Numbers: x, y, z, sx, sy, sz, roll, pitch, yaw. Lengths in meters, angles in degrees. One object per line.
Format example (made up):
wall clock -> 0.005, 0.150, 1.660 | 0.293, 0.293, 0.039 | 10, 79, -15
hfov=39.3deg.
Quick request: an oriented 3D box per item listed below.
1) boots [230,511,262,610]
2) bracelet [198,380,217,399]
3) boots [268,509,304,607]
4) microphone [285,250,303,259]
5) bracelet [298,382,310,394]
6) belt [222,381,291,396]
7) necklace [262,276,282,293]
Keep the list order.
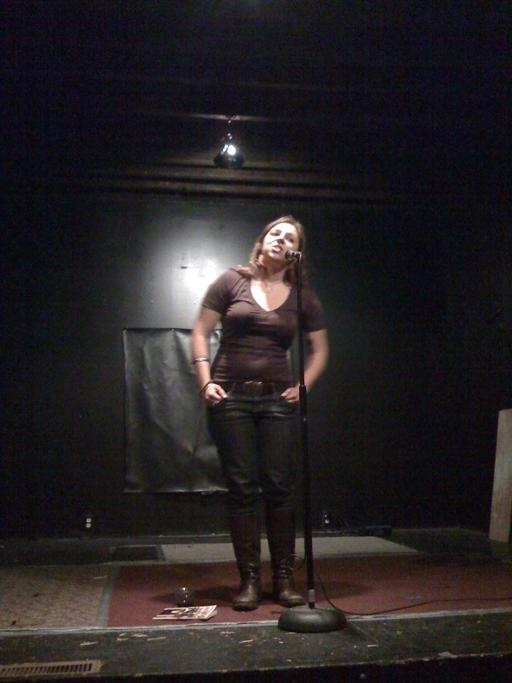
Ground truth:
boots -> -0.030, 0.744, 2.440 | 0.095, 0.296, 0.209 | -4, 2, 1
bracelet -> -0.172, 0.171, 2.548 | 0.013, 0.049, 0.051 | 43, -18, -6
boots -> 0.100, 0.738, 2.449 | 0.107, 0.317, 0.208 | -4, 2, 0
microphone -> 0.124, -0.289, 2.359 | 0.051, 0.027, 0.026 | 8, -6, 37
bracelet -> 0.163, 0.152, 2.390 | 0.055, 0.033, 0.056 | -1, 0, -4
belt -> -0.003, 0.169, 2.549 | 0.218, 0.058, 0.051 | -3, 2, -6
necklace -> 0.058, -0.216, 2.709 | 0.048, 0.031, 0.062 | 9, 25, 3
